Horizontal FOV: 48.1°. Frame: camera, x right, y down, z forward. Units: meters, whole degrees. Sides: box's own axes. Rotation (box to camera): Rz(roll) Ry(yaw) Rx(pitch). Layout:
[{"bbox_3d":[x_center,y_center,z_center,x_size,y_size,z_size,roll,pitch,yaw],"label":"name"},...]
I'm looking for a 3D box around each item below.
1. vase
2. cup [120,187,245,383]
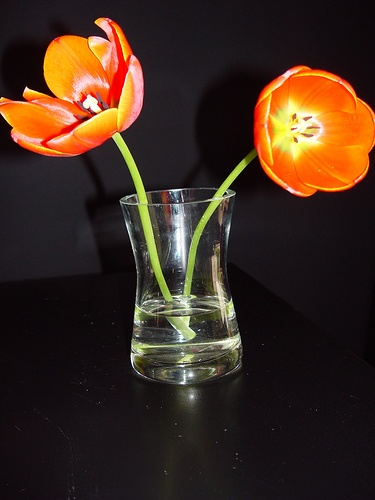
[{"bbox_3d":[-0.001,0.018,0.470,0.132,0.265,0.153,-3,10,-3],"label":"vase"},{"bbox_3d":[0.002,0.016,0.470,0.132,0.266,0.152,-3,10,-3],"label":"cup"}]
